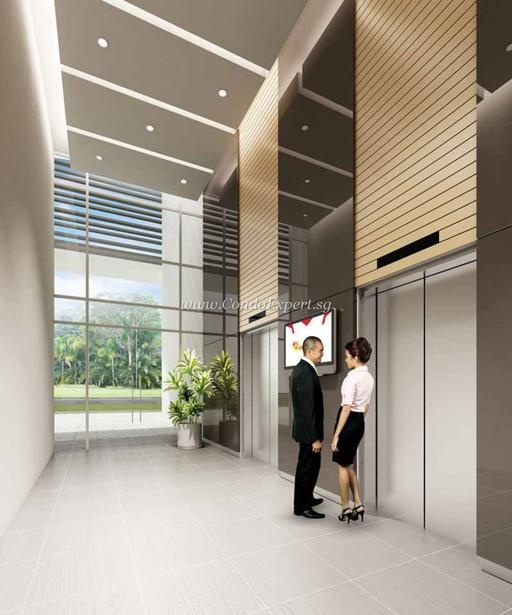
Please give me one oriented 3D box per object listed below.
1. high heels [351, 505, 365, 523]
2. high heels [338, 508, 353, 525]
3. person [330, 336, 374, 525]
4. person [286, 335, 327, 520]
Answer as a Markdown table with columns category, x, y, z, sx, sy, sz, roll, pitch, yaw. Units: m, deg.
| category | x | y | z | sx | sy | sz | roll | pitch | yaw |
| --- | --- | --- | --- | --- | --- | --- | --- | --- | --- |
| high heels | 0.896 | 1.802 | 3.692 | 0.091 | 0.178 | 0.326 | -3 | -9 | 17 |
| high heels | 0.770 | 1.818 | 3.626 | 0.088 | 0.102 | 0.182 | -6 | 0 | 4 |
| person | 0.836 | 1.076 | 3.669 | 0.336 | 1.602 | 0.302 | -8 | -10 | 43 |
| person | 0.496 | 1.106 | 3.969 | 0.293 | 1.645 | 0.283 | -1 | -8 | 7 |
